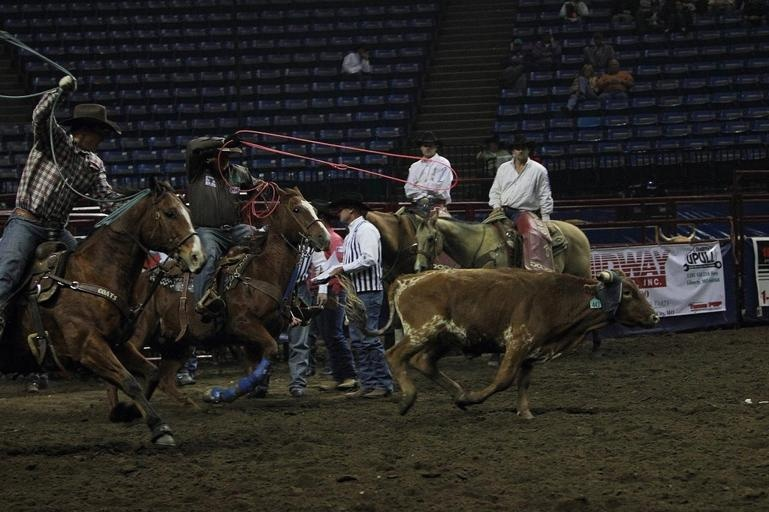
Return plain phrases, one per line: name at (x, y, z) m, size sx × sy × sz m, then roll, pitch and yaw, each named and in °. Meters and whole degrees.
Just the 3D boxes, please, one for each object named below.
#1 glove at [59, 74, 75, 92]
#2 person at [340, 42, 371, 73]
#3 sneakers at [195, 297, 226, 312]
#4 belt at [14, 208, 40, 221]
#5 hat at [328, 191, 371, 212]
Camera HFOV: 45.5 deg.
glove at (-3.703, -2.000, 10.641) m, size 0.179 × 0.194 × 0.344 m, roll -6°, pitch 10°, yaw -16°
person at (-0.926, -5.762, 27.149) m, size 1.233 × 0.831 × 0.832 m, roll 0°, pitch 19°, yaw -9°
sneakers at (-2.258, 0.620, 11.847) m, size 0.288 × 0.166 × 0.311 m, roll -3°, pitch 0°, yaw -43°
belt at (-4.338, -0.501, 11.068) m, size 0.240 × 0.079 × 0.162 m, roll 17°, pitch -7°, yaw -15°
hat at (-0.474, -0.782, 12.978) m, size 0.487 × 0.119 × 0.335 m, roll 4°, pitch -7°, yaw -13°
